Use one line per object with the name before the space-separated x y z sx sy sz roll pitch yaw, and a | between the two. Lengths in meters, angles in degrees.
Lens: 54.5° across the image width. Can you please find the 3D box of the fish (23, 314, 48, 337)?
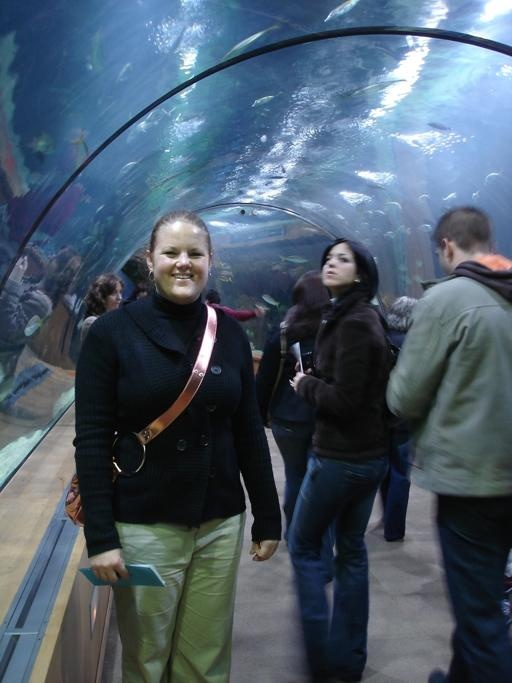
fish | -2.014 -0.164 4.511 0.047 0.182 0.202 49 23 11

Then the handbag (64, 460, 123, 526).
handbag | -0.513 0.507 1.638 0.110 0.234 0.200 9 -7 -16

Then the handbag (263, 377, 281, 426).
handbag | 0.103 0.437 3.637 0.095 0.313 0.254 9 -4 14
